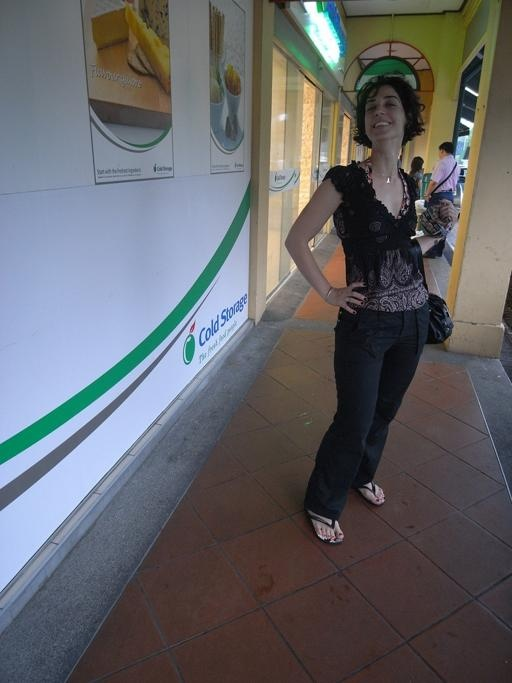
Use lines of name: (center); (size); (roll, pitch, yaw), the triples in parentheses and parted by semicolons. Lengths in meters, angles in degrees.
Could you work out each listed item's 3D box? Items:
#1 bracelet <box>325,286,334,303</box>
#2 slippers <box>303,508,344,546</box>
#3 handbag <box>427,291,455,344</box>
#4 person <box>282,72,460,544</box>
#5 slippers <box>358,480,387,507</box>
bracelet: (0.253, -0.165, 1.418); (0.039, 0.042, 0.041); (-28, 1, 14)
slippers: (0.277, 0.743, 1.701); (0.077, 0.072, 0.159); (2, 14, -35)
handbag: (0.687, -0.085, 1.576); (0.128, 0.173, 0.079); (-15, 4, -43)
person: (0.383, -0.043, 1.524); (0.561, 1.698, 0.342); (-7, 15, -32)
slippers: (0.541, 0.699, 1.922); (0.063, 0.061, 0.130); (-7, 1, -21)
